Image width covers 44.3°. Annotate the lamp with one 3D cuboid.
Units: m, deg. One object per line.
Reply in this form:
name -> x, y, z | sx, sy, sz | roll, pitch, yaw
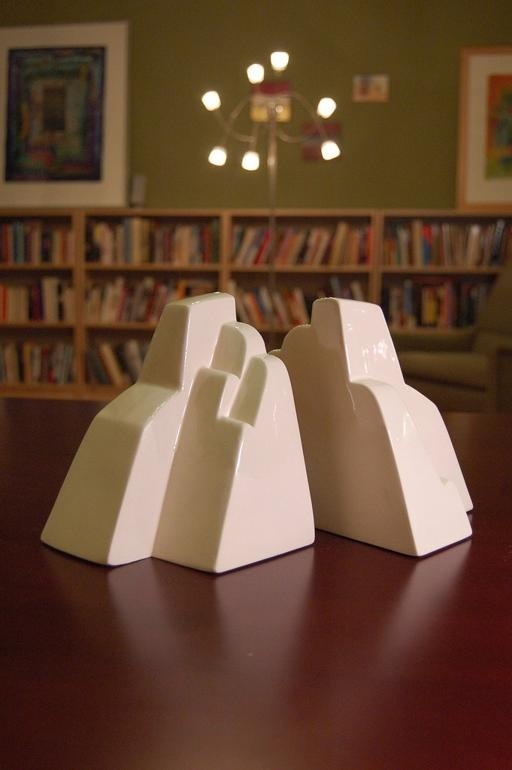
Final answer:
lamp -> 0.028, -1.086, 3.390 | 0.831, 1.724, 0.797 | 1, 3, 8
